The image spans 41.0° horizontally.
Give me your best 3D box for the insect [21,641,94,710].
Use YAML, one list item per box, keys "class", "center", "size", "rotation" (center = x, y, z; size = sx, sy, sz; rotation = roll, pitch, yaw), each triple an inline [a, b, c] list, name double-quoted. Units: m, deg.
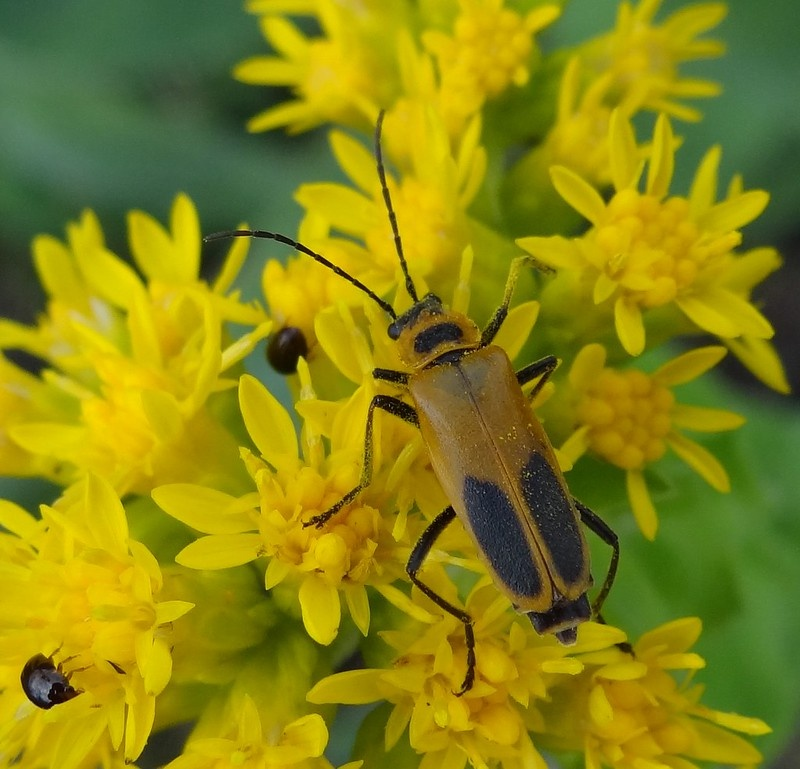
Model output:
- class: "insect"
  center: [-0.718, 0.607, 2.235]
  size: [0.113, 0.035, 0.111]
  rotation: [32, 107, 29]
